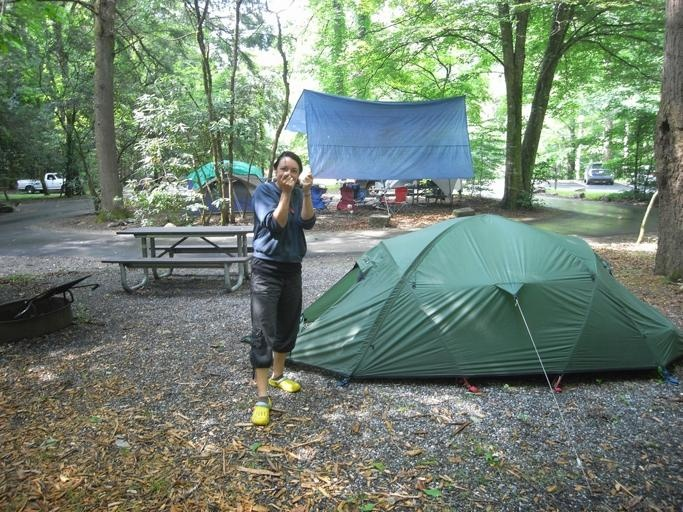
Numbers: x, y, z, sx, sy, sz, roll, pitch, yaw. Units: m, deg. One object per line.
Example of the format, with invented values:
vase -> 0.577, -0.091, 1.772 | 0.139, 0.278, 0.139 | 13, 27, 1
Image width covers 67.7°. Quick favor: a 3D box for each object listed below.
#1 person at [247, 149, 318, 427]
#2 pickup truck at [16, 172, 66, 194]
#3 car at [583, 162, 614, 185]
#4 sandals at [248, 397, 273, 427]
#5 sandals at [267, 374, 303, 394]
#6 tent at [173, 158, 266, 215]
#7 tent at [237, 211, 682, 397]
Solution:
person -> -0.675, 0.278, 5.106 | 0.512, 2.527, 0.950 | 10, 17, 36
pickup truck -> -22.753, -5.300, 38.411 | 4.570, 1.526, 2.438 | -2, 8, -10
car -> 17.046, -5.234, 33.811 | 1.660, 1.410, 1.435 | 13, 18, 42
sandals -> -0.795, 1.489, 4.990 | 0.177, 0.221, 0.179 | 0, 13, -2
sandals -> -0.600, 1.345, 5.474 | 0.288, 0.100, 0.162 | 2, 6, 25
tent -> -3.844, -2.045, 17.192 | 2.287, 1.309, 2.218 | -1, 8, -10
tent -> 1.561, 0.571, 5.676 | 2.971, 0.931, 2.432 | -4, 6, -10
